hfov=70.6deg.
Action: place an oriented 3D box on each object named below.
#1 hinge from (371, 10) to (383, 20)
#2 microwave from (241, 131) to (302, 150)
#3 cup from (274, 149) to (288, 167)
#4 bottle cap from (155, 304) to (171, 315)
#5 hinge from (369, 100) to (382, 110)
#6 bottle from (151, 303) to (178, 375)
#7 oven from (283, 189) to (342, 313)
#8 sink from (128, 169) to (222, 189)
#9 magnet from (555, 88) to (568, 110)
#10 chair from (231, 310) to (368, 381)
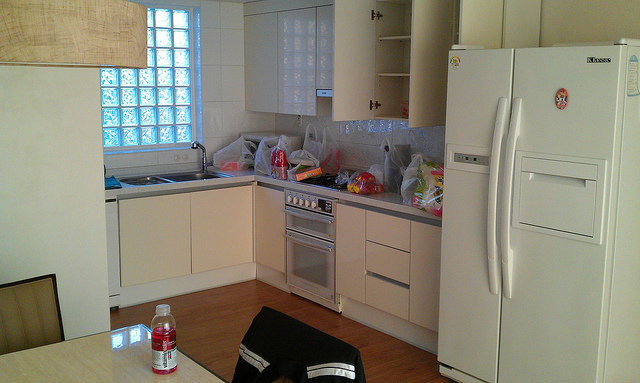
[{"bbox_3d":[0.545,-1.690,4.323,0.095,0.061,0.033,2,5,-5],"label":"hinge"},{"bbox_3d":[-0.584,-0.631,5.530,0.523,0.181,0.705,-16,21,-42],"label":"microwave"},{"bbox_3d":[-0.423,-0.346,4.868,0.154,0.162,0.152,1,3,0],"label":"cup"},{"bbox_3d":[-0.731,0.552,2.101,0.062,0.034,0.062,9,12,36],"label":"bottle cap"},{"bbox_3d":[0.547,-0.858,4.468,0.111,0.061,0.039,0,4,-10],"label":"hinge"},{"bbox_3d":[-0.734,0.675,2.091,0.123,0.315,0.129,-2,16,1],"label":"bottle"},{"bbox_3d":[0.123,0.513,4.856,0.804,1.140,0.754,-11,15,-44],"label":"oven"},{"bbox_3d":[-1.576,-0.135,5.026,0.566,0.107,0.355,-10,17,-29],"label":"sink"},{"bbox_3d":[1.534,-0.591,2.863,0.068,0.127,0.026,7,18,29],"label":"magnet"},{"bbox_3d":[-0.130,0.741,2.074,0.347,0.147,0.504,-6,12,-33],"label":"chair"}]
